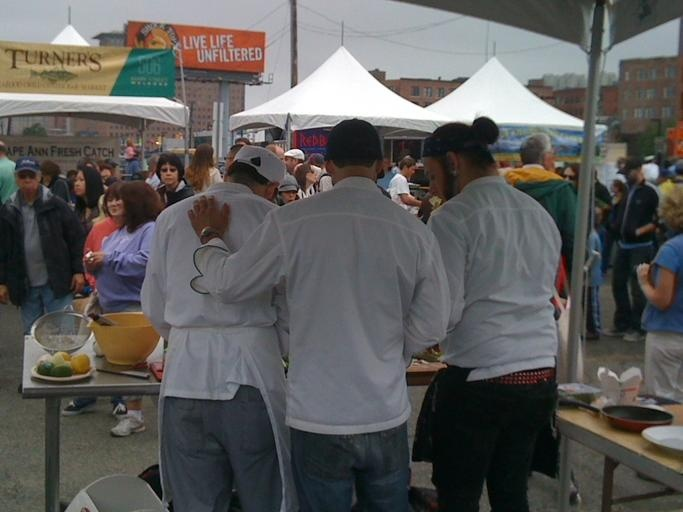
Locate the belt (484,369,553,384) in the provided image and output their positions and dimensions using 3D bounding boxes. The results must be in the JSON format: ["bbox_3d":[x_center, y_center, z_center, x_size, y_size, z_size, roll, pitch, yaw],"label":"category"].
[{"bbox_3d":[0.965,0.641,4.159,0.403,0.082,0.055,-1,6,-20],"label":"belt"}]

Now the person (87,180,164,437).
[{"bbox_3d":[-1.645,0.400,6.001,0.723,1.944,0.673,-2,2,-44],"label":"person"}]

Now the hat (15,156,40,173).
[{"bbox_3d":[-2.713,-0.791,6.806,0.184,0.135,0.187,-2,6,-25],"label":"hat"}]

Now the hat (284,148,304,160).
[{"bbox_3d":[-0.552,-1.256,9.581,0.248,0.135,0.186,19,-3,-22],"label":"hat"}]

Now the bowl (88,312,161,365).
[{"bbox_3d":[-1.296,0.505,4.702,0.358,0.235,0.315,-3,5,-45],"label":"bowl"}]

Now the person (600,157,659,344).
[{"bbox_3d":[3.309,-0.102,8.912,0.634,2.122,0.649,-1,5,-42],"label":"person"}]

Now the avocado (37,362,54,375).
[{"bbox_3d":[-1.699,0.670,4.563,0.075,0.097,0.086,-7,-12,19],"label":"avocado"}]

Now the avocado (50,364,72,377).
[{"bbox_3d":[-1.601,0.657,4.466,0.082,0.070,0.064,5,-10,-13],"label":"avocado"}]

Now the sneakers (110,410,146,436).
[{"bbox_3d":[-1.721,1.375,6.454,0.122,0.175,0.344,-6,-7,37],"label":"sneakers"}]

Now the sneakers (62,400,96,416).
[{"bbox_3d":[-2.262,1.313,6.762,0.287,0.123,0.098,6,-4,-38],"label":"sneakers"}]

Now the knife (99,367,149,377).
[{"bbox_3d":[-1.268,0.685,4.594,0.379,0.027,0.074,3,6,23],"label":"knife"}]

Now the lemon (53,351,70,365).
[{"bbox_3d":[-1.619,0.597,4.562,0.065,0.072,0.069,21,21,40],"label":"lemon"}]

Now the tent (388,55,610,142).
[{"bbox_3d":[2.407,-2.339,12.126,2.988,1.520,3.158,5,3,15],"label":"tent"}]

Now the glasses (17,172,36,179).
[{"bbox_3d":[-2.698,-0.696,6.751,0.086,0.067,0.145,-7,-3,-11],"label":"glasses"}]

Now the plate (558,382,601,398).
[{"bbox_3d":[1.411,0.795,4.706,0.255,0.040,0.281,2,6,8],"label":"plate"}]
